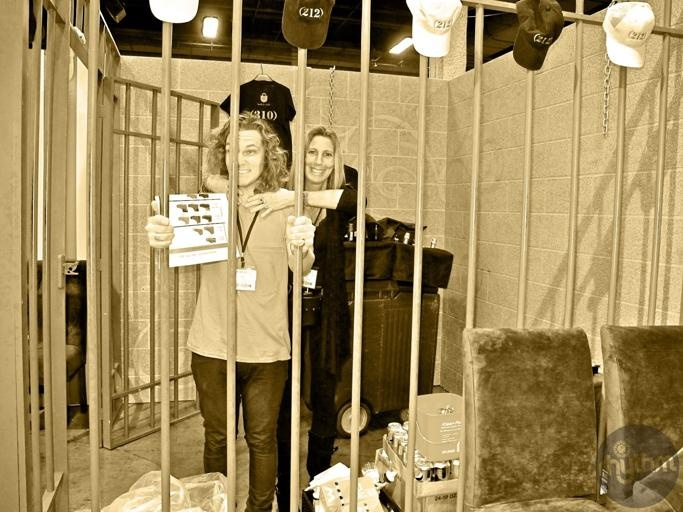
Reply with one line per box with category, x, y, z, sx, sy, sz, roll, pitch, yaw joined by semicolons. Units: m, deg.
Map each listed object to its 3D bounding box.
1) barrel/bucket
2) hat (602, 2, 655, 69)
barrel/bucket;0.488;0.836;3.516;0.304;0.331;0.316;1;6;0
hat;1.238;-0.941;3.033;0.187;0.296;0.151;-1;7;-2
